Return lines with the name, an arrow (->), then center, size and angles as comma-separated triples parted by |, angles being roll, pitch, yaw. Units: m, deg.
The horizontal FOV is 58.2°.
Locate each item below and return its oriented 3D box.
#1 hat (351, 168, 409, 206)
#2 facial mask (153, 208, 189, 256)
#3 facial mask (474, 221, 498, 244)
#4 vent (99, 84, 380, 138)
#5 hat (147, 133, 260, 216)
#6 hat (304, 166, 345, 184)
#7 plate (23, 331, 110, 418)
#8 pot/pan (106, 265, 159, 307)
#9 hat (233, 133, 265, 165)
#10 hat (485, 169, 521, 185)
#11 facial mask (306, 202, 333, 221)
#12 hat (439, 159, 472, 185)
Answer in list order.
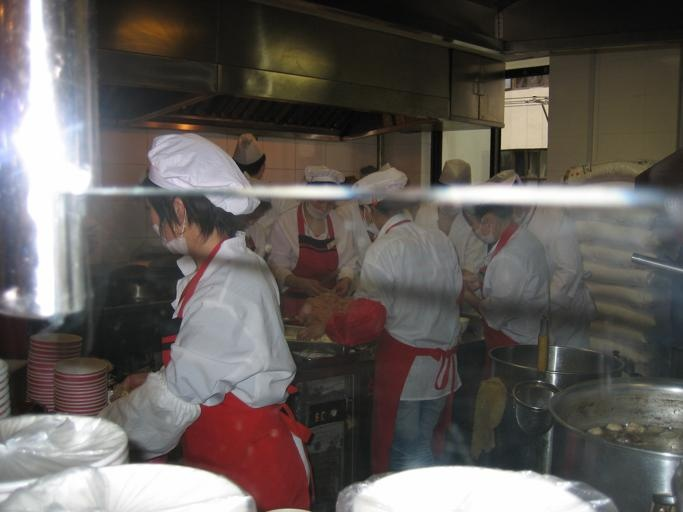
hat -> 0.190, -0.350, 2.778 | 0.203, 0.087, 0.167 | -22, 27, -16
facial mask -> -0.522, -0.071, 1.880 | 0.065, 0.119, 0.094 | -12, 8, -7
facial mask -> 0.704, -0.115, 2.951 | 0.075, 0.097, 0.057 | -3, -2, 0
vent -> -0.534, -0.838, 3.626 | 1.677, 0.184, 0.893 | 0, 7, -24
hat -> -0.420, -0.266, 1.823 | 0.295, 0.116, 0.210 | 25, 32, 4
hat -> -0.116, -0.509, 3.881 | 0.271, 0.137, 0.340 | 0, 0, -8
plate -> -0.776, 0.309, 1.707 | 0.290, 0.255, 0.182 | 2, 0, 33
pot/pan -> -1.117, 0.171, 3.211 | 0.215, 0.063, 0.238 | 0, 25, 3
hat -> -0.577, -0.657, 3.735 | 0.211, 0.113, 0.151 | -25, 13, 27
hat -> 0.785, -0.368, 2.901 | 0.134, 0.052, 0.103 | -4, 4, -24
facial mask -> -0.133, -0.266, 3.634 | 0.094, 0.076, 0.128 | 3, 13, -19
hat -> 0.759, -0.552, 4.082 | 0.212, 0.138, 0.135 | -1, 6, -32
